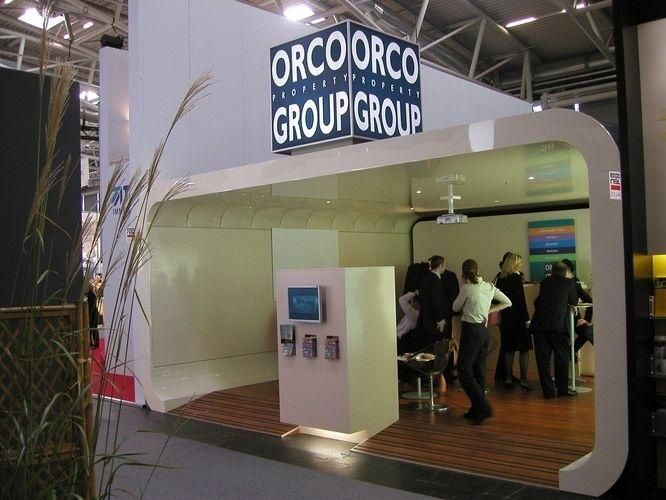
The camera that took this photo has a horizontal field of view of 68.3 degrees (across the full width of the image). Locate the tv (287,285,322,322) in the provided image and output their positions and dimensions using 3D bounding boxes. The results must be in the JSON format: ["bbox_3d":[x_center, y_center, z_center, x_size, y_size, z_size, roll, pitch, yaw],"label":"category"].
[{"bbox_3d":[-0.317,0.604,5.605,0.520,0.367,0.100,-4,-1,42],"label":"tv"}]

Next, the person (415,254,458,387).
[{"bbox_3d":[1.554,0.996,7.191,0.525,1.899,0.570,-2,12,6],"label":"person"}]

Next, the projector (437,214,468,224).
[{"bbox_3d":[1.632,-0.451,6.647,0.315,0.133,0.761,-4,-1,20],"label":"projector"}]

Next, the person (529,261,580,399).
[{"bbox_3d":[2.958,1.067,6.565,0.666,1.929,0.379,-3,-1,-24],"label":"person"}]

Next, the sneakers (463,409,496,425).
[{"bbox_3d":[1.667,1.902,5.606,0.342,0.265,0.127,-6,-6,17],"label":"sneakers"}]

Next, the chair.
[{"bbox_3d":[1.236,1.570,6.226,0.812,1.142,0.779,2,-4,21],"label":"chair"}]

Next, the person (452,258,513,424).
[{"bbox_3d":[1.694,1.033,5.803,0.378,1.920,0.788,-4,-1,44],"label":"person"}]
